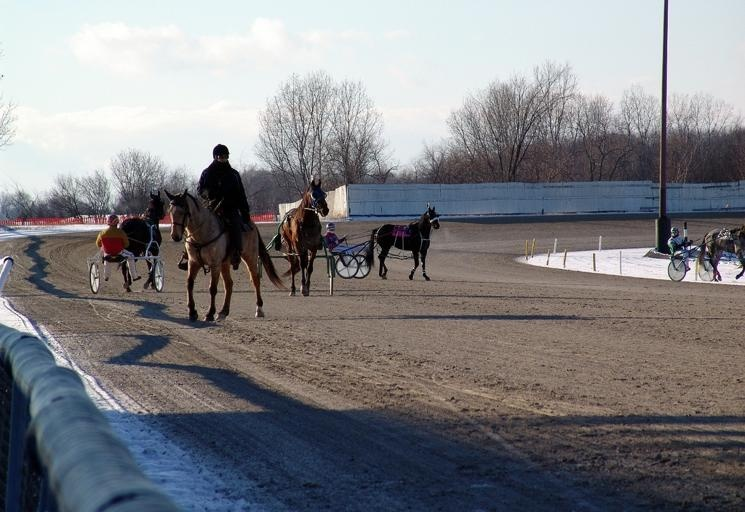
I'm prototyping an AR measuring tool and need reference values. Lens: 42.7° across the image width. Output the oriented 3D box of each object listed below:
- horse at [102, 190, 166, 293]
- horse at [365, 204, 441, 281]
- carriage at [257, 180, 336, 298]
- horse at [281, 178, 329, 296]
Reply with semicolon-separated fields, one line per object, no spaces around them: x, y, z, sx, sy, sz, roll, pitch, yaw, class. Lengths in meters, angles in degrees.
-6.390;-0.441;26.214;0.697;2.299;3.222;0;12;13;horse
0.644;-0.360;28.613;3.032;1.998;0.843;-3;-4;-5;horse
-1.765;-0.400;25.885;1.242;2.344;3.840;1;-7;-15;carriage
-1.893;-0.258;25.700;0.942;2.694;4.391;3;-11;-15;horse
